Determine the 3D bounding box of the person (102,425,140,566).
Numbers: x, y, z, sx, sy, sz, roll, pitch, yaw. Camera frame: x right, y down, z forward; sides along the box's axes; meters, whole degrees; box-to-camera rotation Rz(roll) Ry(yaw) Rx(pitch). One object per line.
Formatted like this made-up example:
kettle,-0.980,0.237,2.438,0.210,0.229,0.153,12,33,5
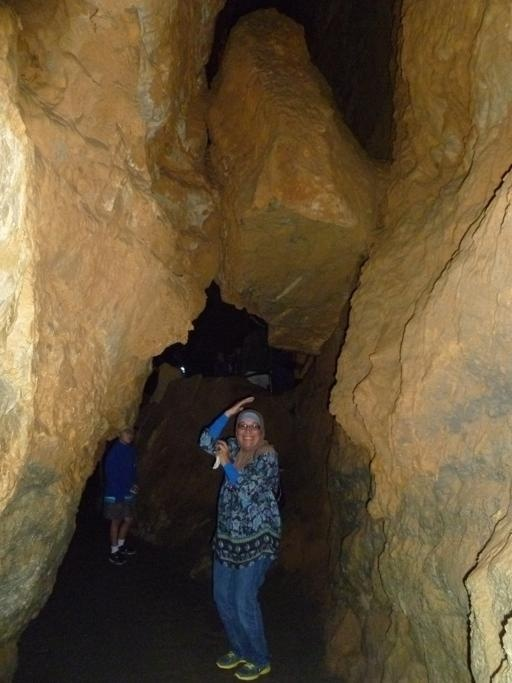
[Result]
person,-1.131,1.260,5.579,0.256,1.217,0.668,-1,3,-13

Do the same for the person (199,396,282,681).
person,-0.065,1.120,3.685,0.371,1.643,0.461,-2,3,-22

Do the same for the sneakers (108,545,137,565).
sneakers,-1.145,1.817,5.734,0.206,0.092,0.126,-14,-13,30

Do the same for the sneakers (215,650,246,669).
sneakers,-0.156,1.867,3.990,0.183,0.090,0.090,17,-3,-8

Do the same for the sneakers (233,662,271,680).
sneakers,-0.029,1.852,3.827,0.230,0.113,0.099,9,-7,-15
